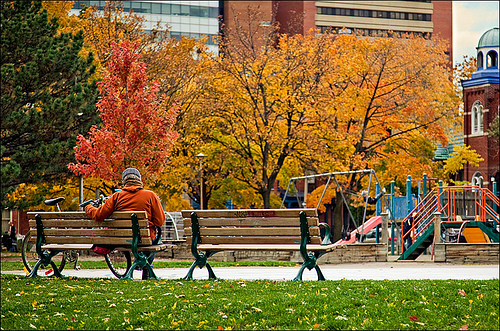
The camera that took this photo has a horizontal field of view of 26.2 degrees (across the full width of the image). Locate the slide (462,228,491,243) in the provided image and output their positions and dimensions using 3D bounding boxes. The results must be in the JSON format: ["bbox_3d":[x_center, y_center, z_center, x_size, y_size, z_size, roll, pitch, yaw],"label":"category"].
[{"bbox_3d":[10.619,3.201,50.491,1.202,0.588,0.898,-2,-1,8],"label":"slide"}]
